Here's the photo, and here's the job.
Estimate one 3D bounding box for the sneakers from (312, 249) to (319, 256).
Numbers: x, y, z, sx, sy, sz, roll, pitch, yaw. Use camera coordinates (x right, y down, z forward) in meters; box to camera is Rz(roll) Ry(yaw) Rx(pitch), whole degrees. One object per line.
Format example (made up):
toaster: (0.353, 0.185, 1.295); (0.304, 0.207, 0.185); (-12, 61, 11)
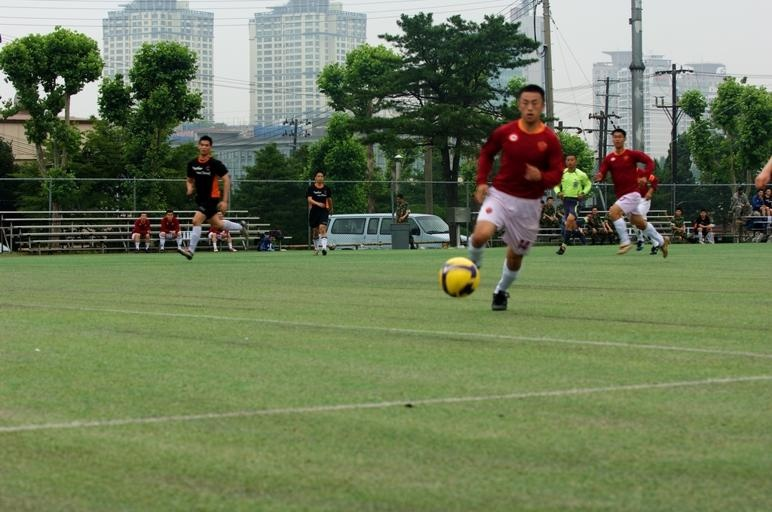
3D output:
sneakers: (-1.786, -0.093, 24.246); (0.163, 0.190, 0.507); (-1, 1, -2)

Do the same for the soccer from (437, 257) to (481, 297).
soccer: (0.738, 0.211, 9.570); (0.368, 0.392, 0.315); (2, 2, 7)

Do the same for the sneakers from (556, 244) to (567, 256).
sneakers: (4.161, -0.154, 22.478); (0.217, 0.158, 0.620); (10, -1, -1)

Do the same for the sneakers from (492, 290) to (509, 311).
sneakers: (1.156, 0.444, 9.669); (0.153, 0.180, 0.195); (2, 2, 5)

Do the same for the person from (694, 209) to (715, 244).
person: (11.092, -1.029, 33.342); (0.625, 1.091, 2.488); (2, 3, 18)

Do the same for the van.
van: (-0.010, -0.892, 33.789); (3.147, 1.342, 1.800); (-1, 1, 13)

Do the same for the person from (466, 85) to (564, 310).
person: (1.355, -0.610, 9.907); (0.935, 2.278, 0.843); (2, 2, 6)

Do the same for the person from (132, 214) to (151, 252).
person: (-7.349, -0.712, 28.897); (0.506, 1.169, 1.365); (1, 2, -15)

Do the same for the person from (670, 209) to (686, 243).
person: (10.746, -1.139, 35.034); (0.543, 1.199, 2.244); (2, 3, 17)

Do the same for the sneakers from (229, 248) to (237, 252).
sneakers: (-4.930, -0.201, 30.933); (0.146, 0.151, 0.416); (0, -4, -39)

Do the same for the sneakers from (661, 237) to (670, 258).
sneakers: (5.781, -0.184, 19.855); (0.211, 0.445, 0.160); (1, 7, 22)
